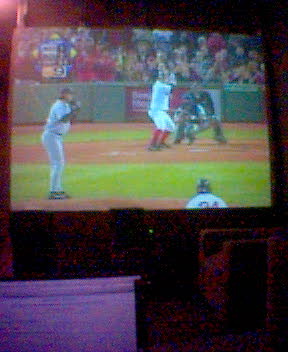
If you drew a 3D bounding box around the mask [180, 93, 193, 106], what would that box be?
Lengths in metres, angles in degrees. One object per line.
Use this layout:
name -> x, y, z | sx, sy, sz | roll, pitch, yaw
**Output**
mask -> 0.433, -0.790, 4.566 | 0.117, 0.102, 0.029 | 2, 49, 17
